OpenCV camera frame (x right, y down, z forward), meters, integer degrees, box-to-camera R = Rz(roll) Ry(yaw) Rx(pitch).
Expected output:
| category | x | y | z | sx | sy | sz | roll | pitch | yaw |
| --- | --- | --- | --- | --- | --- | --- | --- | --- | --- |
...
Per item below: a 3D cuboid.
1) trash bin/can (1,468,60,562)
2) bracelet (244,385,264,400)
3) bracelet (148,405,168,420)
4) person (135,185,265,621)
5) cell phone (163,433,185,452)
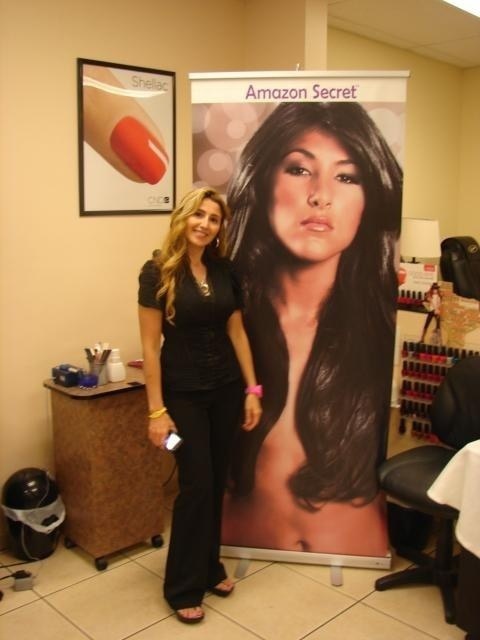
| category | x | y | z | sx | sy | sz | roll | pitch | yaw |
| --- | --- | --- | --- | --- | --- | --- | --- | --- | --- |
| trash bin/can | -0.888 | 0.834 | 2.174 | 0.255 | 0.385 | 0.179 | 0 | -1 | -28 |
| bracelet | 0.055 | 0.268 | 1.893 | 0.053 | 0.043 | 0.047 | 1 | -5 | 43 |
| bracelet | -0.273 | 0.307 | 1.651 | 0.044 | 0.025 | 0.037 | -30 | -8 | 15 |
| person | -0.158 | 0.298 | 1.738 | 0.237 | 1.454 | 0.444 | -1 | -1 | 36 |
| cell phone | -0.214 | 0.395 | 1.624 | 0.058 | 0.074 | 0.109 | 0 | 0 | -8 |
